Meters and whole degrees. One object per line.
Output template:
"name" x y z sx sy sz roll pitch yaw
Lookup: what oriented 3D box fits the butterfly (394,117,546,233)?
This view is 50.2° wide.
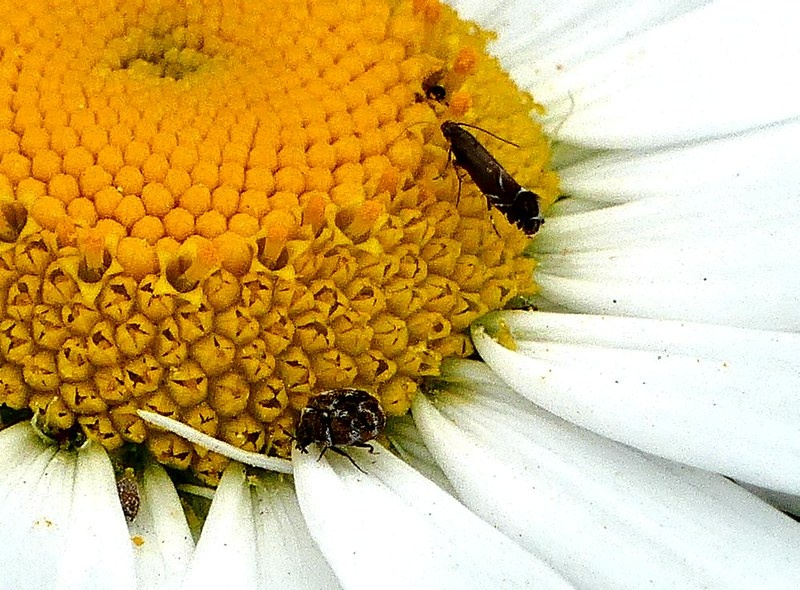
"butterfly" 0.264 -0.380 3.038 0.437 0.125 0.337 46 67 -6

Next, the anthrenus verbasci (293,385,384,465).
"anthrenus verbasci" -0.201 0.372 2.638 0.312 0.105 0.239 -14 45 -23
